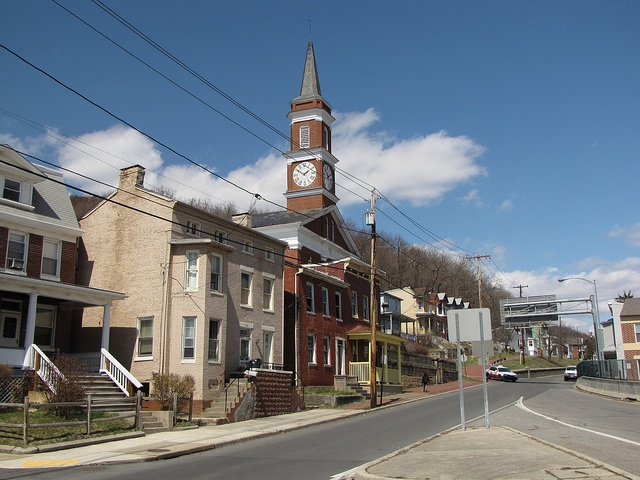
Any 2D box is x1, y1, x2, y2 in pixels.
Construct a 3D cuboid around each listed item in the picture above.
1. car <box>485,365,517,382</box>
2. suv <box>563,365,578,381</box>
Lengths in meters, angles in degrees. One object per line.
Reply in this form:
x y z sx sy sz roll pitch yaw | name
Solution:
19.332 14.323 57.497 1.774 1.899 4.280 -1 -19 -8 | car
31.328 16.648 67.447 1.763 1.925 3.849 -5 -20 19 | suv
